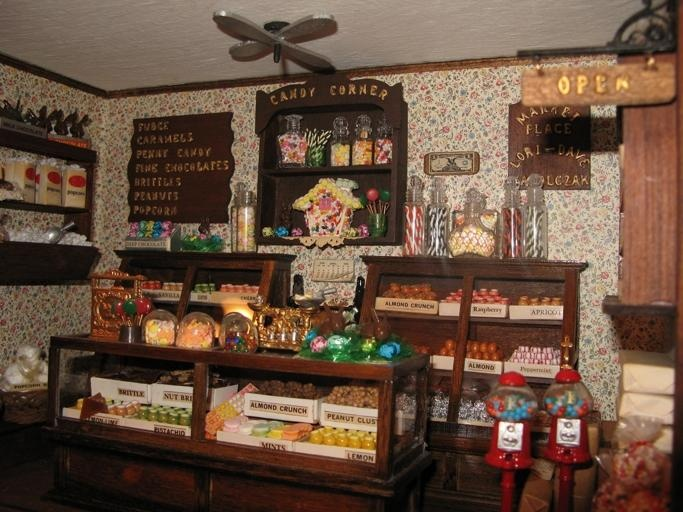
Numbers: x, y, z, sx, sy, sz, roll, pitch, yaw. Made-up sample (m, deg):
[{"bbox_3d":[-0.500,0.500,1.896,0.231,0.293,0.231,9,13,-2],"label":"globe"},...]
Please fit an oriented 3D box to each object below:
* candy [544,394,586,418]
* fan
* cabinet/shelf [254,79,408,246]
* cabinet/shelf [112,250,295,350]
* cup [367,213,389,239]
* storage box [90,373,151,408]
[{"bbox_3d":[1.305,0.878,3.258,0.177,0.071,0.165,-1,1,-28],"label":"candy"},{"bbox_3d":[-0.479,-1.600,4.019,0.615,0.133,0.590,0,-4,34],"label":"fan"},{"bbox_3d":[-0.067,-0.848,4.967,1.891,1.591,0.480,1,3,16],"label":"cabinet/shelf"},{"bbox_3d":[-1.381,0.441,5.221,1.909,0.916,0.639,1,3,28],"label":"cabinet/shelf"},{"bbox_3d":[0.308,-0.278,4.956,0.225,0.208,0.204,0,-4,13],"label":"cup"},{"bbox_3d":[-1.571,0.942,3.905,0.283,0.079,0.252,2,-2,25],"label":"storage box"}]
